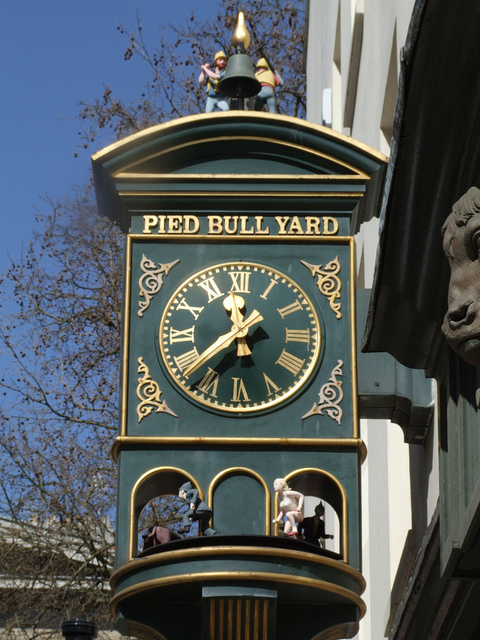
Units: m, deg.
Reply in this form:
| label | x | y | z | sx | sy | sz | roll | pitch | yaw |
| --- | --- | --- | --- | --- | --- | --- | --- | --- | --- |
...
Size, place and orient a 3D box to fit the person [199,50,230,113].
| label | x | y | z | sx | sy | sz | roll | pitch | yaw |
| --- | --- | --- | --- | --- | --- | --- | --- | --- | --- |
| person | -0.236 | -2.101 | 17.943 | 0.289 | 0.820 | 0.233 | -3 | -27 | 15 |

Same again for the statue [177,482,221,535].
| label | x | y | z | sx | sy | sz | roll | pitch | yaw |
| --- | --- | --- | --- | --- | --- | --- | --- | --- | --- |
| statue | -0.338 | 1.426 | 14.602 | 0.250 | 0.404 | 0.414 | -8 | -9 | 18 |

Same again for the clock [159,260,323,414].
| label | x | y | z | sx | sy | sz | roll | pitch | yaw |
| --- | --- | --- | --- | --- | --- | --- | --- | --- | --- |
| clock | -0.001 | 0.201 | 15.539 | 0.958 | 1.181 | 0.161 | 5 | -35 | -1 |

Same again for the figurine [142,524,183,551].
| label | x | y | z | sx | sy | sz | roll | pitch | yaw |
| --- | --- | --- | --- | --- | --- | --- | --- | --- | --- |
| figurine | -0.595 | 1.617 | 14.423 | 0.179 | 0.103 | 0.224 | 0 | -26 | 5 |

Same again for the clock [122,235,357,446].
| label | x | y | z | sx | sy | sz | roll | pitch | yaw |
| --- | --- | --- | --- | --- | --- | --- | --- | --- | --- |
| clock | -0.017 | 0.249 | 15.550 | 1.460 | 1.975 | 0.175 | 1 | -33 | -2 |
